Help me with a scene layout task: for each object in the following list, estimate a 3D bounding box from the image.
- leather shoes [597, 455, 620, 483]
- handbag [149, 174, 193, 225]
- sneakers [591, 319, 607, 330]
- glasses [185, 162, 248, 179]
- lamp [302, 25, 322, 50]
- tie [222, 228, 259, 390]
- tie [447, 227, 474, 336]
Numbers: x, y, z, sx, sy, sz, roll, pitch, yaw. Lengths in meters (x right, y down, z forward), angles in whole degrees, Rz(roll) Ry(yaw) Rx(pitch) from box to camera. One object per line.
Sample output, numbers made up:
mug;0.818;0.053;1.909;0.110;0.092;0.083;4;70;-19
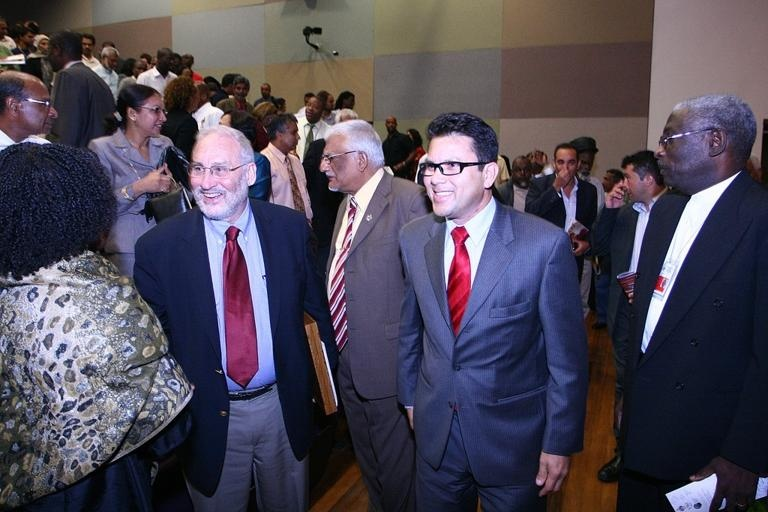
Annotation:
leather shoes;1.521;1.412;3.908;0.134;0.179;0.140;3;14;13
handbag;-1.227;-0.327;3.331;0.239;0.252;0.091;-24;6;9
sneakers;2.464;0.757;6.600;0.164;0.117;0.196;5;15;18
glasses;-0.794;-0.418;2.810;0.290;0.069;0.137;-3;15;-14
lamp;-1.296;-3.986;10.534;0.456;0.542;0.262;1;18;-3
tie;-0.687;0.232;2.744;0.143;0.705;0.266;-3;13;-14
tie;0.337;0.105;2.584;0.102;0.450;0.176;1;13;6
